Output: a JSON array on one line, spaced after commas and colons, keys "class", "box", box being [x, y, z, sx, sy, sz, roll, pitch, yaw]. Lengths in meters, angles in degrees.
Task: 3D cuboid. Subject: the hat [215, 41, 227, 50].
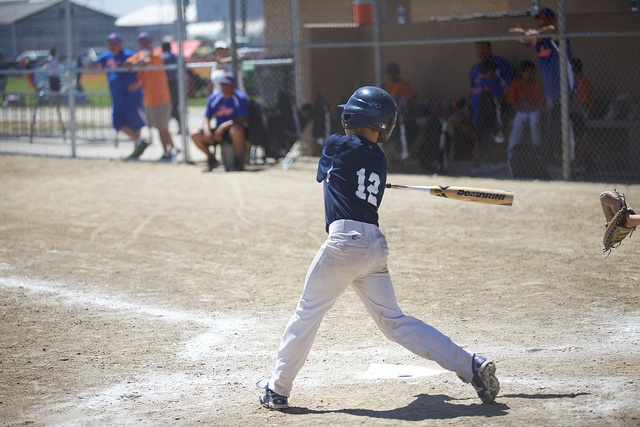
[{"class": "hat", "box": [-1.749, -2.974, 18.784, 0.216, 0.098, 0.310, 0, 9, -2]}]

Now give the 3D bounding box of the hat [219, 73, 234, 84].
[{"class": "hat", "box": [-1.576, -2.289, 17.986, 0.227, 0.185, 0.319, -2, 6, 3]}]

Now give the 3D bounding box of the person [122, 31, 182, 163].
[{"class": "person", "box": [-2.946, -2.039, 18.639, 0.700, 2.244, 0.633, -2, 6, 3]}]

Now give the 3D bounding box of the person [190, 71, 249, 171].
[{"class": "person", "box": [-1.683, -1.561, 18.163, 0.896, 1.662, 0.512, -2, 6, 1]}]

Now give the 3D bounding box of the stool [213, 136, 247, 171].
[{"class": "stool", "box": [-1.519, -1.077, 18.465, 0.540, 0.690, 0.560, 4, 14, 30]}]

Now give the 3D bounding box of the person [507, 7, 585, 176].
[{"class": "person", "box": [3.769, -2.005, 17.498, 0.826, 2.730, 1.202, -2, 6, 4]}]

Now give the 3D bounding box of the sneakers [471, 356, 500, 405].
[{"class": "sneakers", "box": [1.792, 1.796, 11.677, 0.251, 0.517, 0.258, -18, 6, -27]}]

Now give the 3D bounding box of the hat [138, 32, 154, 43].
[{"class": "hat", "box": [-3.021, -3.055, 18.399, 0.235, 0.169, 0.149, -3, 6, -9]}]

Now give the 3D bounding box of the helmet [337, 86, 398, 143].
[{"class": "helmet", "box": [0.555, -1.151, 11.970, 0.644, 0.454, 0.485, 5, 1, 5]}]

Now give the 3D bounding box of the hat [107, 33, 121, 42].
[{"class": "hat", "box": [-3.567, -3.061, 18.502, 0.225, 0.172, 0.230, -1, 6, 5]}]

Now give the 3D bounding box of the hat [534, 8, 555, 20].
[{"class": "hat", "box": [3.620, -3.232, 17.228, 0.251, 0.223, 0.463, 2, 7, 32]}]

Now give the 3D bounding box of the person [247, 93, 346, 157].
[{"class": "person", "box": [-0.460, -1.624, 19.184, 1.553, 0.674, 1.077, -4, 12, -14]}]
